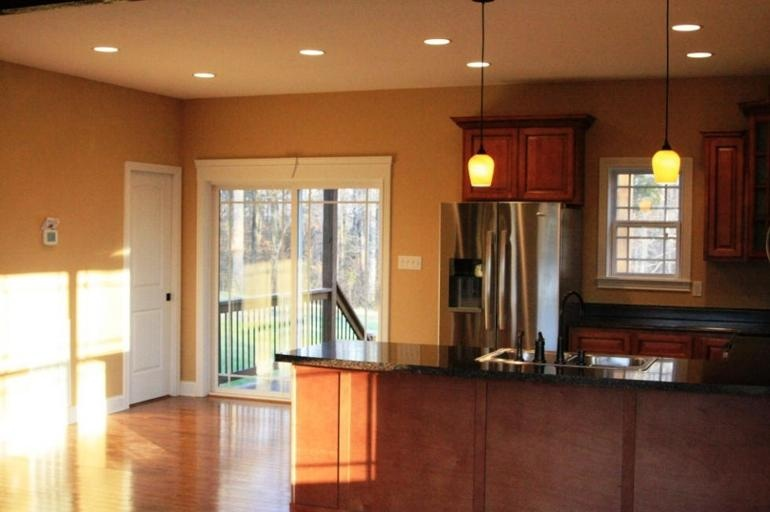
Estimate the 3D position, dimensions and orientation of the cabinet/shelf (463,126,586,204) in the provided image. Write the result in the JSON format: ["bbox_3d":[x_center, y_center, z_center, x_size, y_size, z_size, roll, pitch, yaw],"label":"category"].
[{"bbox_3d":[1.373,-0.934,6.999,1.233,0.891,0.448,2,0,15],"label":"cabinet/shelf"}]

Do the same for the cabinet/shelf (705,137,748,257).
[{"bbox_3d":[3.367,-0.590,6.568,0.386,1.207,0.432,-5,6,-36],"label":"cabinet/shelf"}]
